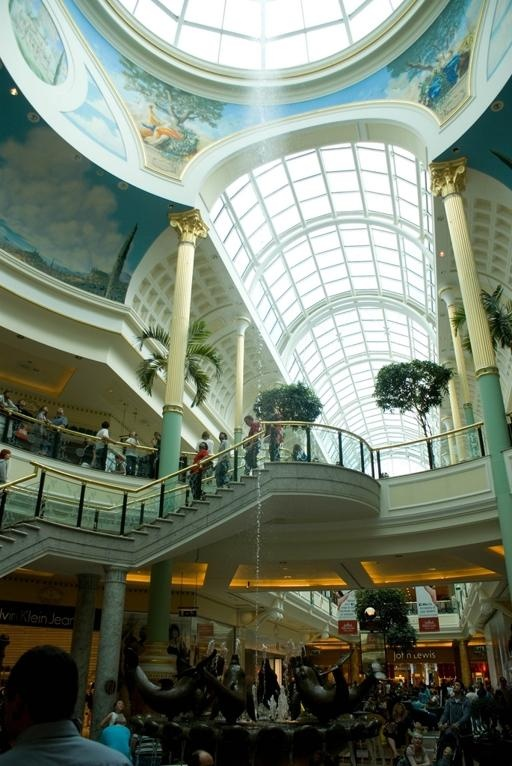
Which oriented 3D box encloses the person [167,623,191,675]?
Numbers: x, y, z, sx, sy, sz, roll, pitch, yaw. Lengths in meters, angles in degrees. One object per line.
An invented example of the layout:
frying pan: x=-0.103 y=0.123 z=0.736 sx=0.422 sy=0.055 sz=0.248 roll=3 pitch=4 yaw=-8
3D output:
person: x=-1.409 y=4.699 z=8.450 sx=0.284 sy=0.814 sz=0.240 roll=18 pitch=-50 yaw=-30

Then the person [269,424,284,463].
person: x=0.428 y=1.265 z=10.243 sx=0.330 sy=0.848 sz=0.198 roll=7 pitch=-25 yaw=-14
